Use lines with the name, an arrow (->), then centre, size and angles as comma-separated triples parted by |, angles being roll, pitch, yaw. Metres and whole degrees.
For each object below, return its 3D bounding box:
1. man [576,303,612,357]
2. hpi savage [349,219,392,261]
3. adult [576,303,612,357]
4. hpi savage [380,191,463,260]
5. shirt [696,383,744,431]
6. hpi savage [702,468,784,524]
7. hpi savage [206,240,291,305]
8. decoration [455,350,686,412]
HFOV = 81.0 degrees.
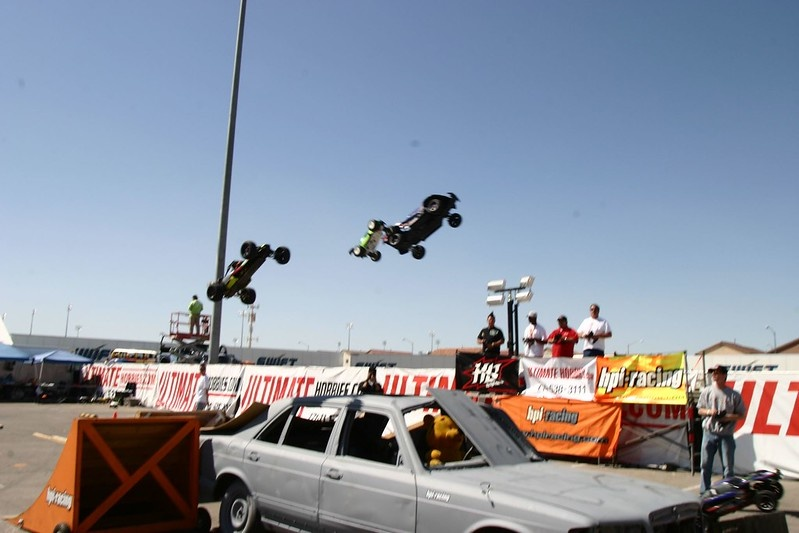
man -> 5.143, 1.686, 12.388 | 0.771, 1.345, 0.999 | -2, -6, 21
hpi savage -> -0.994, -1.113, 18.628 | 1.056, 0.586, 1.815 | 14, -54, -39
adult -> 5.122, 1.680, 12.333 | 0.771, 1.345, 1.119 | -2, -6, 21
hpi savage -> 1.110, -1.835, 21.075 | 4.143, 1.248, 2.257 | -38, -59, 8
shirt -> 6.020, 2.637, 8.773 | 0.475, 0.804, 0.865 | 2, -4, -38
hpi savage -> 5.542, 3.708, 7.605 | 1.621, 0.663, 0.617 | 4, -7, -30
hpi savage -> -7.223, 0.084, 22.155 | 3.879, 1.281, 2.385 | -44, -27, 25
decoration -> 4.263, 2.823, 12.359 | 5.576, 1.346, 0.338 | -5, -33, 29
